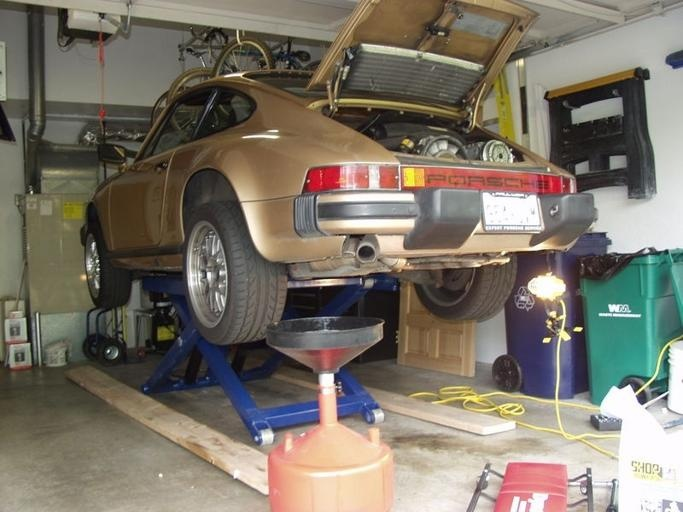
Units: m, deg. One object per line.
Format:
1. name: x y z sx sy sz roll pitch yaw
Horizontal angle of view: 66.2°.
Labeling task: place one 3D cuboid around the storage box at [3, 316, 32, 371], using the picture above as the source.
1. storage box: -3.591 0.973 5.844 0.252 0.572 0.226 0 1 -32

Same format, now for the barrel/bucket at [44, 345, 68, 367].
1. barrel/bucket: -3.237 1.136 5.981 0.229 0.254 0.263 -2 -6 34

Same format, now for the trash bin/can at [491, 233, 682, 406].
1. trash bin/can: 2.132 0.528 4.667 1.003 1.292 1.493 -1 2 -45
